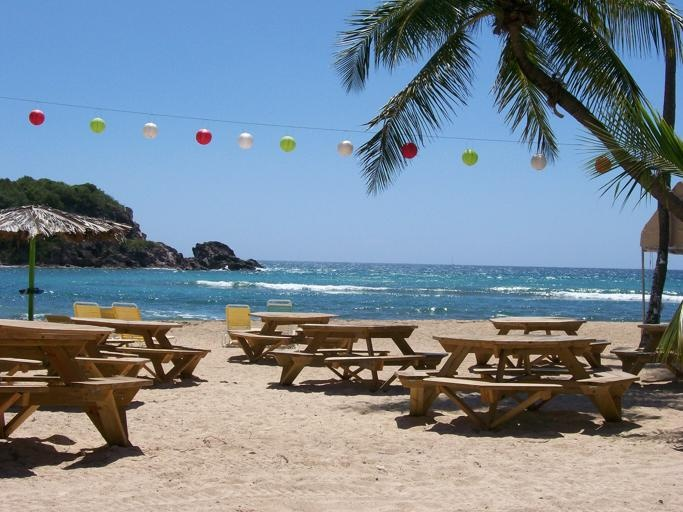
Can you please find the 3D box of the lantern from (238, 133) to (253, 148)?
[{"bbox_3d":[-1.663,-2.002,12.214,0.195,0.304,0.607,0,0,-11],"label":"lantern"}]

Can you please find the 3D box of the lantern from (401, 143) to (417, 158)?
[{"bbox_3d":[1.038,-1.658,11.001,0.232,0.252,0.322,0,0,-12],"label":"lantern"}]

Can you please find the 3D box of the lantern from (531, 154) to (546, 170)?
[{"bbox_3d":[3.251,-1.580,11.679,0.219,0.304,0.805,0,-1,15],"label":"lantern"}]

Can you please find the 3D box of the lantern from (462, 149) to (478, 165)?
[{"bbox_3d":[2.144,-1.645,11.756,0.199,0.268,0.547,0,0,6],"label":"lantern"}]

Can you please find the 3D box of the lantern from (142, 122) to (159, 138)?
[{"bbox_3d":[-3.355,-2.212,12.418,0.305,0.283,0.157,-1,0,40],"label":"lantern"}]

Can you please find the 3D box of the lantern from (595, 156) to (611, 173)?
[{"bbox_3d":[3.024,-1.051,8.150,0.171,0.201,0.366,0,0,21],"label":"lantern"}]
